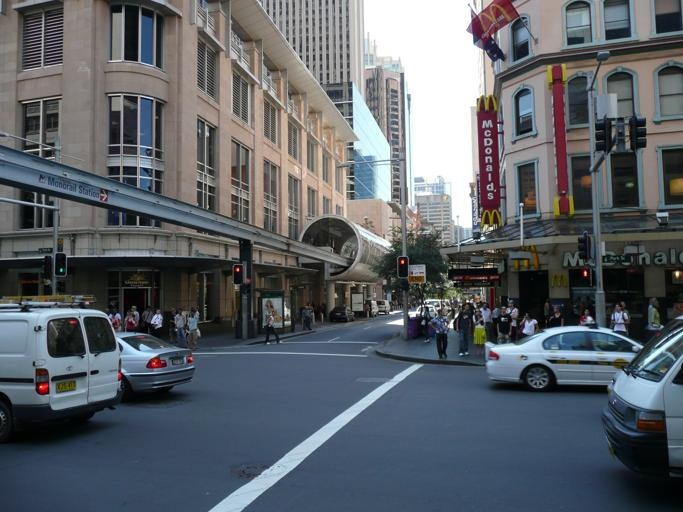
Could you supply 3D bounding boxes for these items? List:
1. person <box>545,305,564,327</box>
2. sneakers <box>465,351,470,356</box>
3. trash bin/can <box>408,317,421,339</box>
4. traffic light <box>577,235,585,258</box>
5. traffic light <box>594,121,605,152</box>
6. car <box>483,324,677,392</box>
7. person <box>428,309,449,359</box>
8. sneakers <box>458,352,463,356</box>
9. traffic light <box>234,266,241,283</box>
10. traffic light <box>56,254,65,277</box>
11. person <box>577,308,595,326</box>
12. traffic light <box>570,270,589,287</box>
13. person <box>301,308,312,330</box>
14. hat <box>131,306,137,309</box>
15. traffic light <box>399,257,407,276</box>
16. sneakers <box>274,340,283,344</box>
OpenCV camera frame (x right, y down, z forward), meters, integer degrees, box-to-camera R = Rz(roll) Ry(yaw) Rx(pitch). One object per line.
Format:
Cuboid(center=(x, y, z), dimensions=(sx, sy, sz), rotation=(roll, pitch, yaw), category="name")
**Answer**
Cuboid(center=(8.615, 2.360, 28.441), dimensions=(0.720, 0.724, 1.966), rotation=(7, -5, 20), category="person")
Cuboid(center=(4.873, 3.742, 27.344), dimensions=(0.102, 0.152, 0.347), rotation=(-2, -11, 0), category="sneakers")
Cuboid(center=(3.669, 3.595, 35.536), dimensions=(0.701, 0.903, 1.253), rotation=(4, 11, 10), category="trash bin/can")
Cuboid(center=(7.860, -0.349, 22.979), dimensions=(0.274, 0.554, 0.485), rotation=(-5, -4, 11), category="traffic light")
Cuboid(center=(8.023, -3.765, 21.635), dimensions=(0.489, 0.838, 0.432), rotation=(-6, -4, 23), category="traffic light")
Cuboid(center=(6.334, 2.978, 20.517), dimensions=(3.767, 1.565, 1.933), rotation=(-4, -3, 7), category="car")
Cuboid(center=(3.709, 2.854, 26.339), dimensions=(0.568, 1.873, 1.344), rotation=(-5, -4, 7), category="person")
Cuboid(center=(4.583, 3.705, 27.067), dimensions=(0.127, 0.195, 0.430), rotation=(0, -2, 10), category="sneakers")
Cuboid(center=(-5.055, 0.777, 34.588), dimensions=(0.400, 0.924, 0.801), rotation=(-4, -4, -9), category="traffic light")
Cuboid(center=(-10.571, 0.254, 26.621), dimensions=(0.395, 0.830, 0.399), rotation=(-4, -4, -14), category="traffic light")
Cuboid(center=(9.324, 2.251, 26.867), dimensions=(0.575, 0.826, 0.477), rotation=(-12, -47, 32), category="person")
Cuboid(center=(10.062, 0.918, 29.825), dimensions=(0.554, 0.684, 0.338), rotation=(-1, 1, 8), category="traffic light")
Cuboid(center=(-2.167, 3.911, 45.295), dimensions=(0.592, 1.582, 2.283), rotation=(-4, -5, -4), category="person")
Cuboid(center=(-9.930, 2.386, 33.835), dimensions=(0.272, 0.116, 0.300), rotation=(-1, -3, -15), category="hat")
Cuboid(center=(2.824, 0.432, 32.449), dimensions=(0.459, 0.939, 0.247), rotation=(-5, -3, 5), category="traffic light")
Cuboid(center=(-3.114, 4.241, 35.318), dimensions=(0.102, 0.263, 0.330), rotation=(2, 3, 36), category="sneakers")
